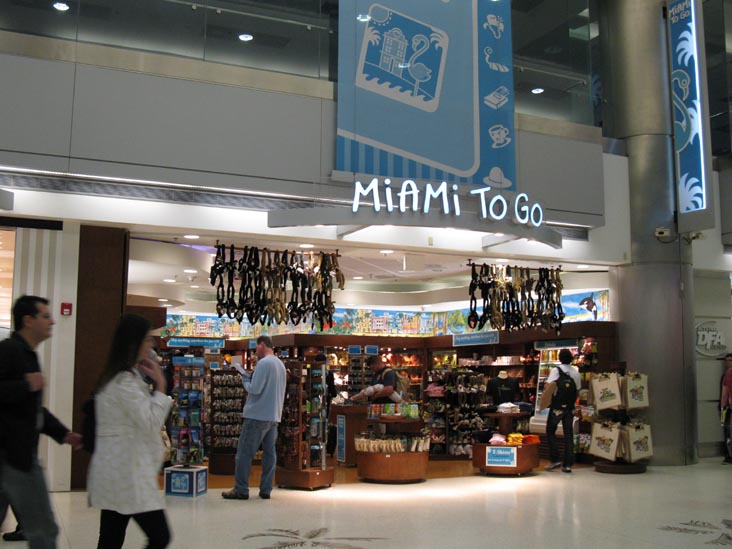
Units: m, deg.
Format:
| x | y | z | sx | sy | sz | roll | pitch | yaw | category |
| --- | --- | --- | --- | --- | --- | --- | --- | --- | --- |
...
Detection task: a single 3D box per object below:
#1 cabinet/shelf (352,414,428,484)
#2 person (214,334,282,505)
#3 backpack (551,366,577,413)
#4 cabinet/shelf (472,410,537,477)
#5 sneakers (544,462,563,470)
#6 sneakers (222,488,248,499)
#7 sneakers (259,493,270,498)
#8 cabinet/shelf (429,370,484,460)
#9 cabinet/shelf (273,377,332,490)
| x | y | z | sx | sy | sz | roll | pitch | yaw | category |
| --- | --- | --- | --- | --- | --- | --- | --- | --- | --- |
| 0.400 | 2.671 | 10.963 | 0.982 | 0.745 | 1.008 | 1 | -11 | 0 | cabinet/shelf |
| -1.465 | 1.864 | 9.436 | 0.740 | 2.092 | 0.823 | 1 | -6 | -6 | person |
| 3.305 | 1.855 | 11.696 | 0.462 | 0.737 | 0.477 | -1 | -1 | 40 | backpack |
| 2.281 | 2.759 | 11.681 | 1.209 | 1.017 | 1.331 | 2 | -3 | 6 | cabinet/shelf |
| 3.117 | 3.157 | 11.696 | 0.331 | 0.157 | 0.122 | 3 | -10 | -21 | sneakers |
| -1.663 | 2.803 | 9.038 | 0.344 | 0.151 | 0.128 | 7 | -17 | 5 | sneakers |
| -1.301 | 2.850 | 9.108 | 0.149 | 0.064 | 0.167 | 2 | -6 | -12 | sneakers |
| 1.745 | 2.687 | 13.441 | 1.081 | 1.587 | 0.537 | -2 | -33 | 14 | cabinet/shelf |
| -0.905 | 2.226 | 10.252 | 0.762 | 1.595 | 0.768 | 1 | -4 | 9 | cabinet/shelf |
